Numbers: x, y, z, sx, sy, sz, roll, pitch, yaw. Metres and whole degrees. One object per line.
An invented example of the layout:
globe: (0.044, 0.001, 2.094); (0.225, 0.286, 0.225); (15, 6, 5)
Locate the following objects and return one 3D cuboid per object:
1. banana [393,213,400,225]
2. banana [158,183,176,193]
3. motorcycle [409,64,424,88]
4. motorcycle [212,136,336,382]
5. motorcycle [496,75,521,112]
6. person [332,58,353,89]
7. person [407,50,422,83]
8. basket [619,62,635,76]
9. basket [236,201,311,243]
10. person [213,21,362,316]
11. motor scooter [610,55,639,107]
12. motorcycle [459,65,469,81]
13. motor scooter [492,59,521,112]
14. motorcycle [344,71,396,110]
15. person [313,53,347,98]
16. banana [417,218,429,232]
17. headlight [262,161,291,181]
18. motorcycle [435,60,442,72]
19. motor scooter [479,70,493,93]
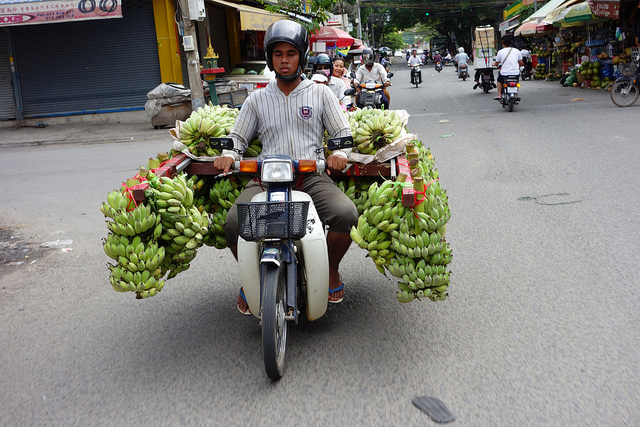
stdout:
banana: (0.544, 0.037, 3.060); (0.044, 0.081, 0.016); (2, 17, 14)
banana: (-1.128, -0.186, 3.143); (0.164, 0.066, 0.047); (9, 10, 28)
motorcycle: (6.319, -9.083, 28.536); (0.518, 1.406, 1.228); (1, 18, 12)
motorcycle: (-0.321, 0.268, 3.147); (0.716, 1.592, 1.176); (-7, 18, -14)
motorcycle: (6.826, -4.308, 15.424); (0.680, 1.008, 1.505); (3, 22, 8)
person: (0.479, -3.356, 10.409); (0.581, 0.680, 1.033); (-3, 12, 3)
person: (6.509, -10.443, 29.217); (0.884, 1.070, 1.493); (-3, 14, 5)
basket: (10.653, -4.966, 14.874); (0.381, 0.421, 0.397); (2, 5, 34)
basket: (-0.318, 0.038, 2.858); (0.343, 0.191, 0.271); (1, 2, 2)
person: (-0.245, -0.381, 3.567); (1.060, 2.280, 1.088); (2, 14, 12)
motor scooter: (10.540, -4.491, 14.753); (0.808, 1.515, 1.614); (9, 21, 33)
motorcycle: (10.464, -10.250, 31.392); (0.649, 1.050, 0.447); (-4, 17, -7)
motor scooter: (6.982, -4.681, 16.012); (1.019, 1.578, 2.401); (-1, 16, 17)
motorcycle: (1.638, -3.674, 13.757); (1.277, 1.651, 2.480); (2, 19, 10)
person: (0.128, -3.070, 9.480); (0.579, 0.901, 1.622); (-2, 24, 9)
banana: (0.719, 0.071, 3.004); (0.064, 0.130, 0.035); (-4, -3, -28)
headlight: (-0.296, -0.290, 2.858); (0.158, 0.134, 0.062); (4, 1, 5)
motorcycle: (13.269, -16.186, 47.218); (0.835, 1.191, 1.987); (-2, 21, 6)
motor scooter: (8.556, -6.772, 22.119); (0.593, 1.118, 0.457); (5, 18, 24)
